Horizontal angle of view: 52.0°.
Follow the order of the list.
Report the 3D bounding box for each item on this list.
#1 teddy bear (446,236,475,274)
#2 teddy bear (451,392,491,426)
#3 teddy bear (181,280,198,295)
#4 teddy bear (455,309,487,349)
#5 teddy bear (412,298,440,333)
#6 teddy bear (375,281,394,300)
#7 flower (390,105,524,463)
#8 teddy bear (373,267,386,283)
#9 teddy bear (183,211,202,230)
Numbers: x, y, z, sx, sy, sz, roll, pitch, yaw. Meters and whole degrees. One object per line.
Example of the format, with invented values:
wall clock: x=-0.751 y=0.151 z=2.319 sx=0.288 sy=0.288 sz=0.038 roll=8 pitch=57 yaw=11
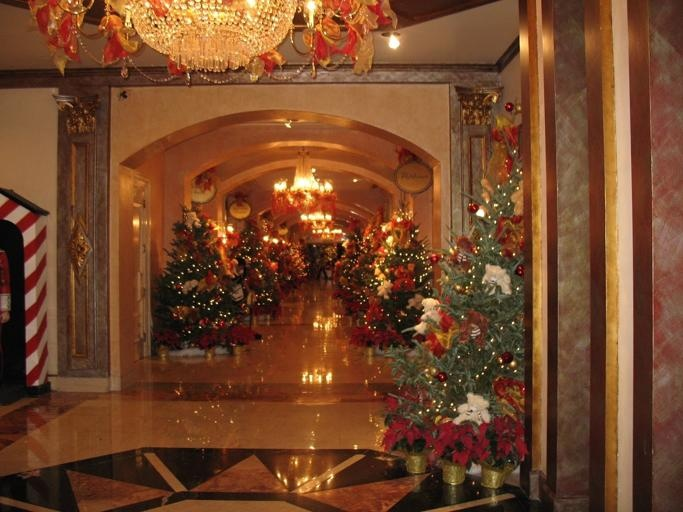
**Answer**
teddy bear: x=0.958 y=-0.012 z=5.580 sx=0.192 sy=0.290 sz=0.114 roll=4 pitch=11 yaw=37
teddy bear: x=1.002 y=1.177 z=5.369 sx=0.274 sy=0.280 sz=0.158 roll=7 pitch=38 yaw=2
teddy bear: x=-2.170 y=0.429 z=9.968 sx=0.201 sy=0.080 sz=0.156 roll=-45 pitch=-16 yaw=15
teddy bear: x=1.029 y=0.594 z=5.431 sx=0.230 sy=0.105 sz=0.313 roll=-14 pitch=26 yaw=-2
teddy bear: x=0.689 y=0.466 z=5.611 sx=0.115 sy=0.290 sz=0.199 roll=21 pitch=-20 yaw=-19
teddy bear: x=0.573 y=0.450 z=9.796 sx=0.234 sy=0.252 sz=0.119 roll=9 pitch=7 yaw=-21
flower: x=0.940 y=0.266 z=5.588 sx=0.982 sy=2.704 sz=0.718 roll=0 pitch=3 yaw=11
teddy bear: x=0.536 y=0.267 z=9.975 sx=0.069 sy=0.199 sz=0.139 roll=-10 pitch=10 yaw=-36
teddy bear: x=-2.260 y=-0.539 z=10.548 sx=0.269 sy=0.292 sz=0.226 roll=-6 pitch=0 yaw=22
